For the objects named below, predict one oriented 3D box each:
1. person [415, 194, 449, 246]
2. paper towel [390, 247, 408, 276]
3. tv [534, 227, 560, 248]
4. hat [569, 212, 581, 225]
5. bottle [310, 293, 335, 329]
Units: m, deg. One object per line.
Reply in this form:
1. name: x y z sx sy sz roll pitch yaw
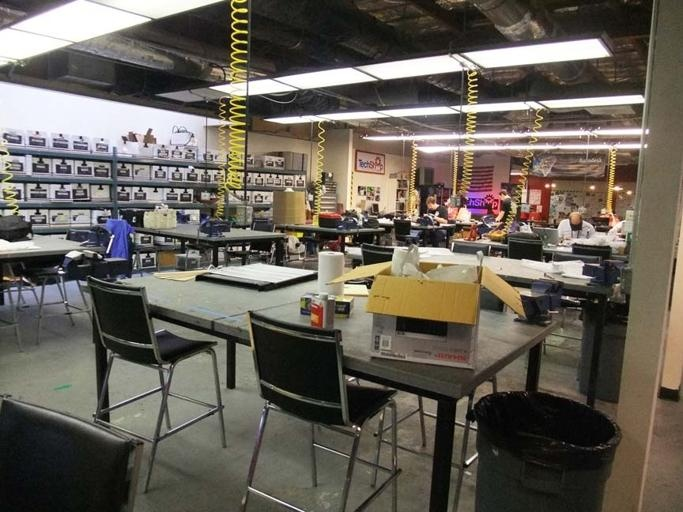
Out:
1. person: 2.222 -0.736 12.552 0.666 1.459 0.857 16 42 32
2. paper towel: 0.304 0.025 2.641 0.080 0.128 0.203 2 10 6
3. tv: 2.996 -0.291 7.415 0.322 0.299 0.465 -8 10 -31
4. hat: 3.746 -0.595 8.130 0.164 0.169 0.227 -7 -5 29
5. bottle: -0.103 0.295 2.814 0.125 0.182 0.201 1 10 -1
